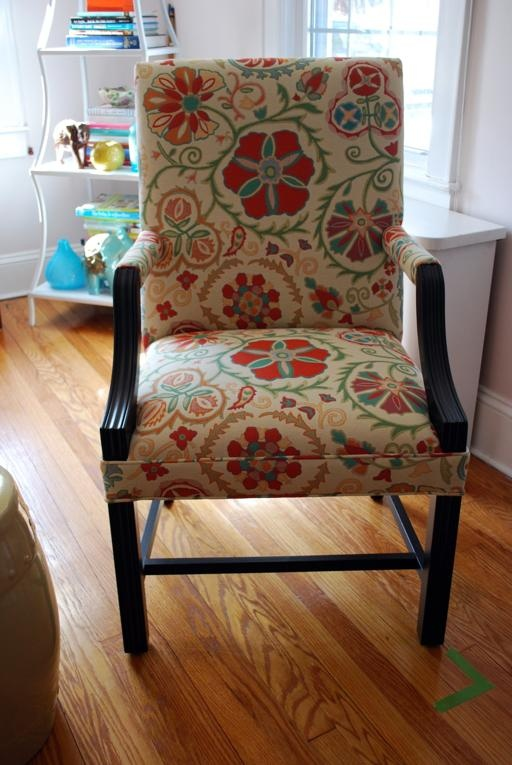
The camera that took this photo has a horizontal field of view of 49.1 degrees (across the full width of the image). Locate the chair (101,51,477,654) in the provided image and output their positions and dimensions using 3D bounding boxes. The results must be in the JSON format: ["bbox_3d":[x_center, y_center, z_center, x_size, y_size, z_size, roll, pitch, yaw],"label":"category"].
[{"bbox_3d":[0.042,-0.065,0.961,0.529,0.895,0.619,-2,26,0],"label":"chair"}]
